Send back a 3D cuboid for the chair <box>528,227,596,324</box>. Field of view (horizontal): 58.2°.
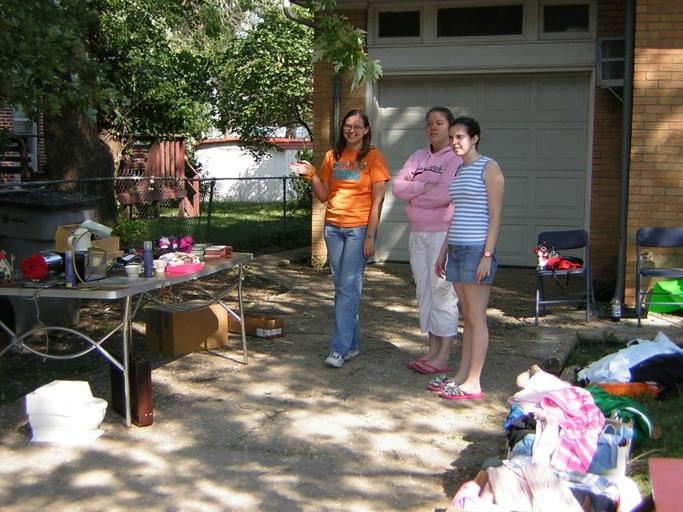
[{"bbox_3d":[2.816,0.181,7.831,0.822,1.052,0.883,0,7,34],"label":"chair"}]

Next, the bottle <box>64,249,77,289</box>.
[{"bbox_3d":[-1.874,0.084,4.258,0.073,0.249,0.155,-5,11,-24],"label":"bottle"}]

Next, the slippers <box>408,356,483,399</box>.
[{"bbox_3d":[0.816,1.027,5.074,0.419,0.104,0.204,22,20,36],"label":"slippers"}]

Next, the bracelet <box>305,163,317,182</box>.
[{"bbox_3d":[-0.273,-0.785,5.741,0.076,0.123,0.143,25,-11,-6],"label":"bracelet"}]

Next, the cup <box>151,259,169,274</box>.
[{"bbox_3d":[-1.411,0.076,4.797,0.106,0.076,0.104,2,-5,0],"label":"cup"}]

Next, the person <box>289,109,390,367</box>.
[{"bbox_3d":[0.086,-0.176,5.675,0.570,2.282,0.621,-3,10,-18],"label":"person"}]

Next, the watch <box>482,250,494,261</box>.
[{"bbox_3d":[1.118,-0.007,4.688,0.086,0.076,0.027,-1,-2,7],"label":"watch"}]

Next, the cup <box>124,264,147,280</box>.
[{"bbox_3d":[-1.527,0.113,4.560,0.133,0.083,0.101,-3,2,5],"label":"cup"}]

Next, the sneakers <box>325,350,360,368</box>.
[{"bbox_3d":[0.028,0.939,5.637,0.112,0.119,0.318,6,1,29],"label":"sneakers"}]

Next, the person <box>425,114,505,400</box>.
[{"bbox_3d":[0.989,0.024,4.898,0.458,2.225,0.521,-5,11,-26],"label":"person"}]

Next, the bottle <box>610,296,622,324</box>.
[{"bbox_3d":[3.188,0.616,7.111,0.099,0.220,0.271,4,10,21],"label":"bottle"}]

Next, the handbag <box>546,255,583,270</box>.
[{"bbox_3d":[2.640,0.087,7.218,0.311,0.106,0.223,-2,6,-11],"label":"handbag"}]

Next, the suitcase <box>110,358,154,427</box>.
[{"bbox_3d":[-1.496,0.978,4.395,0.175,0.427,0.486,-7,10,-42],"label":"suitcase"}]

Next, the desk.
[{"bbox_3d":[-2.157,0.542,5.410,2.285,1.079,2.126,4,10,22],"label":"desk"}]

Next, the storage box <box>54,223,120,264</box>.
[{"bbox_3d":[-1.923,-0.128,4.735,0.402,0.249,0.389,3,2,11],"label":"storage box"}]
